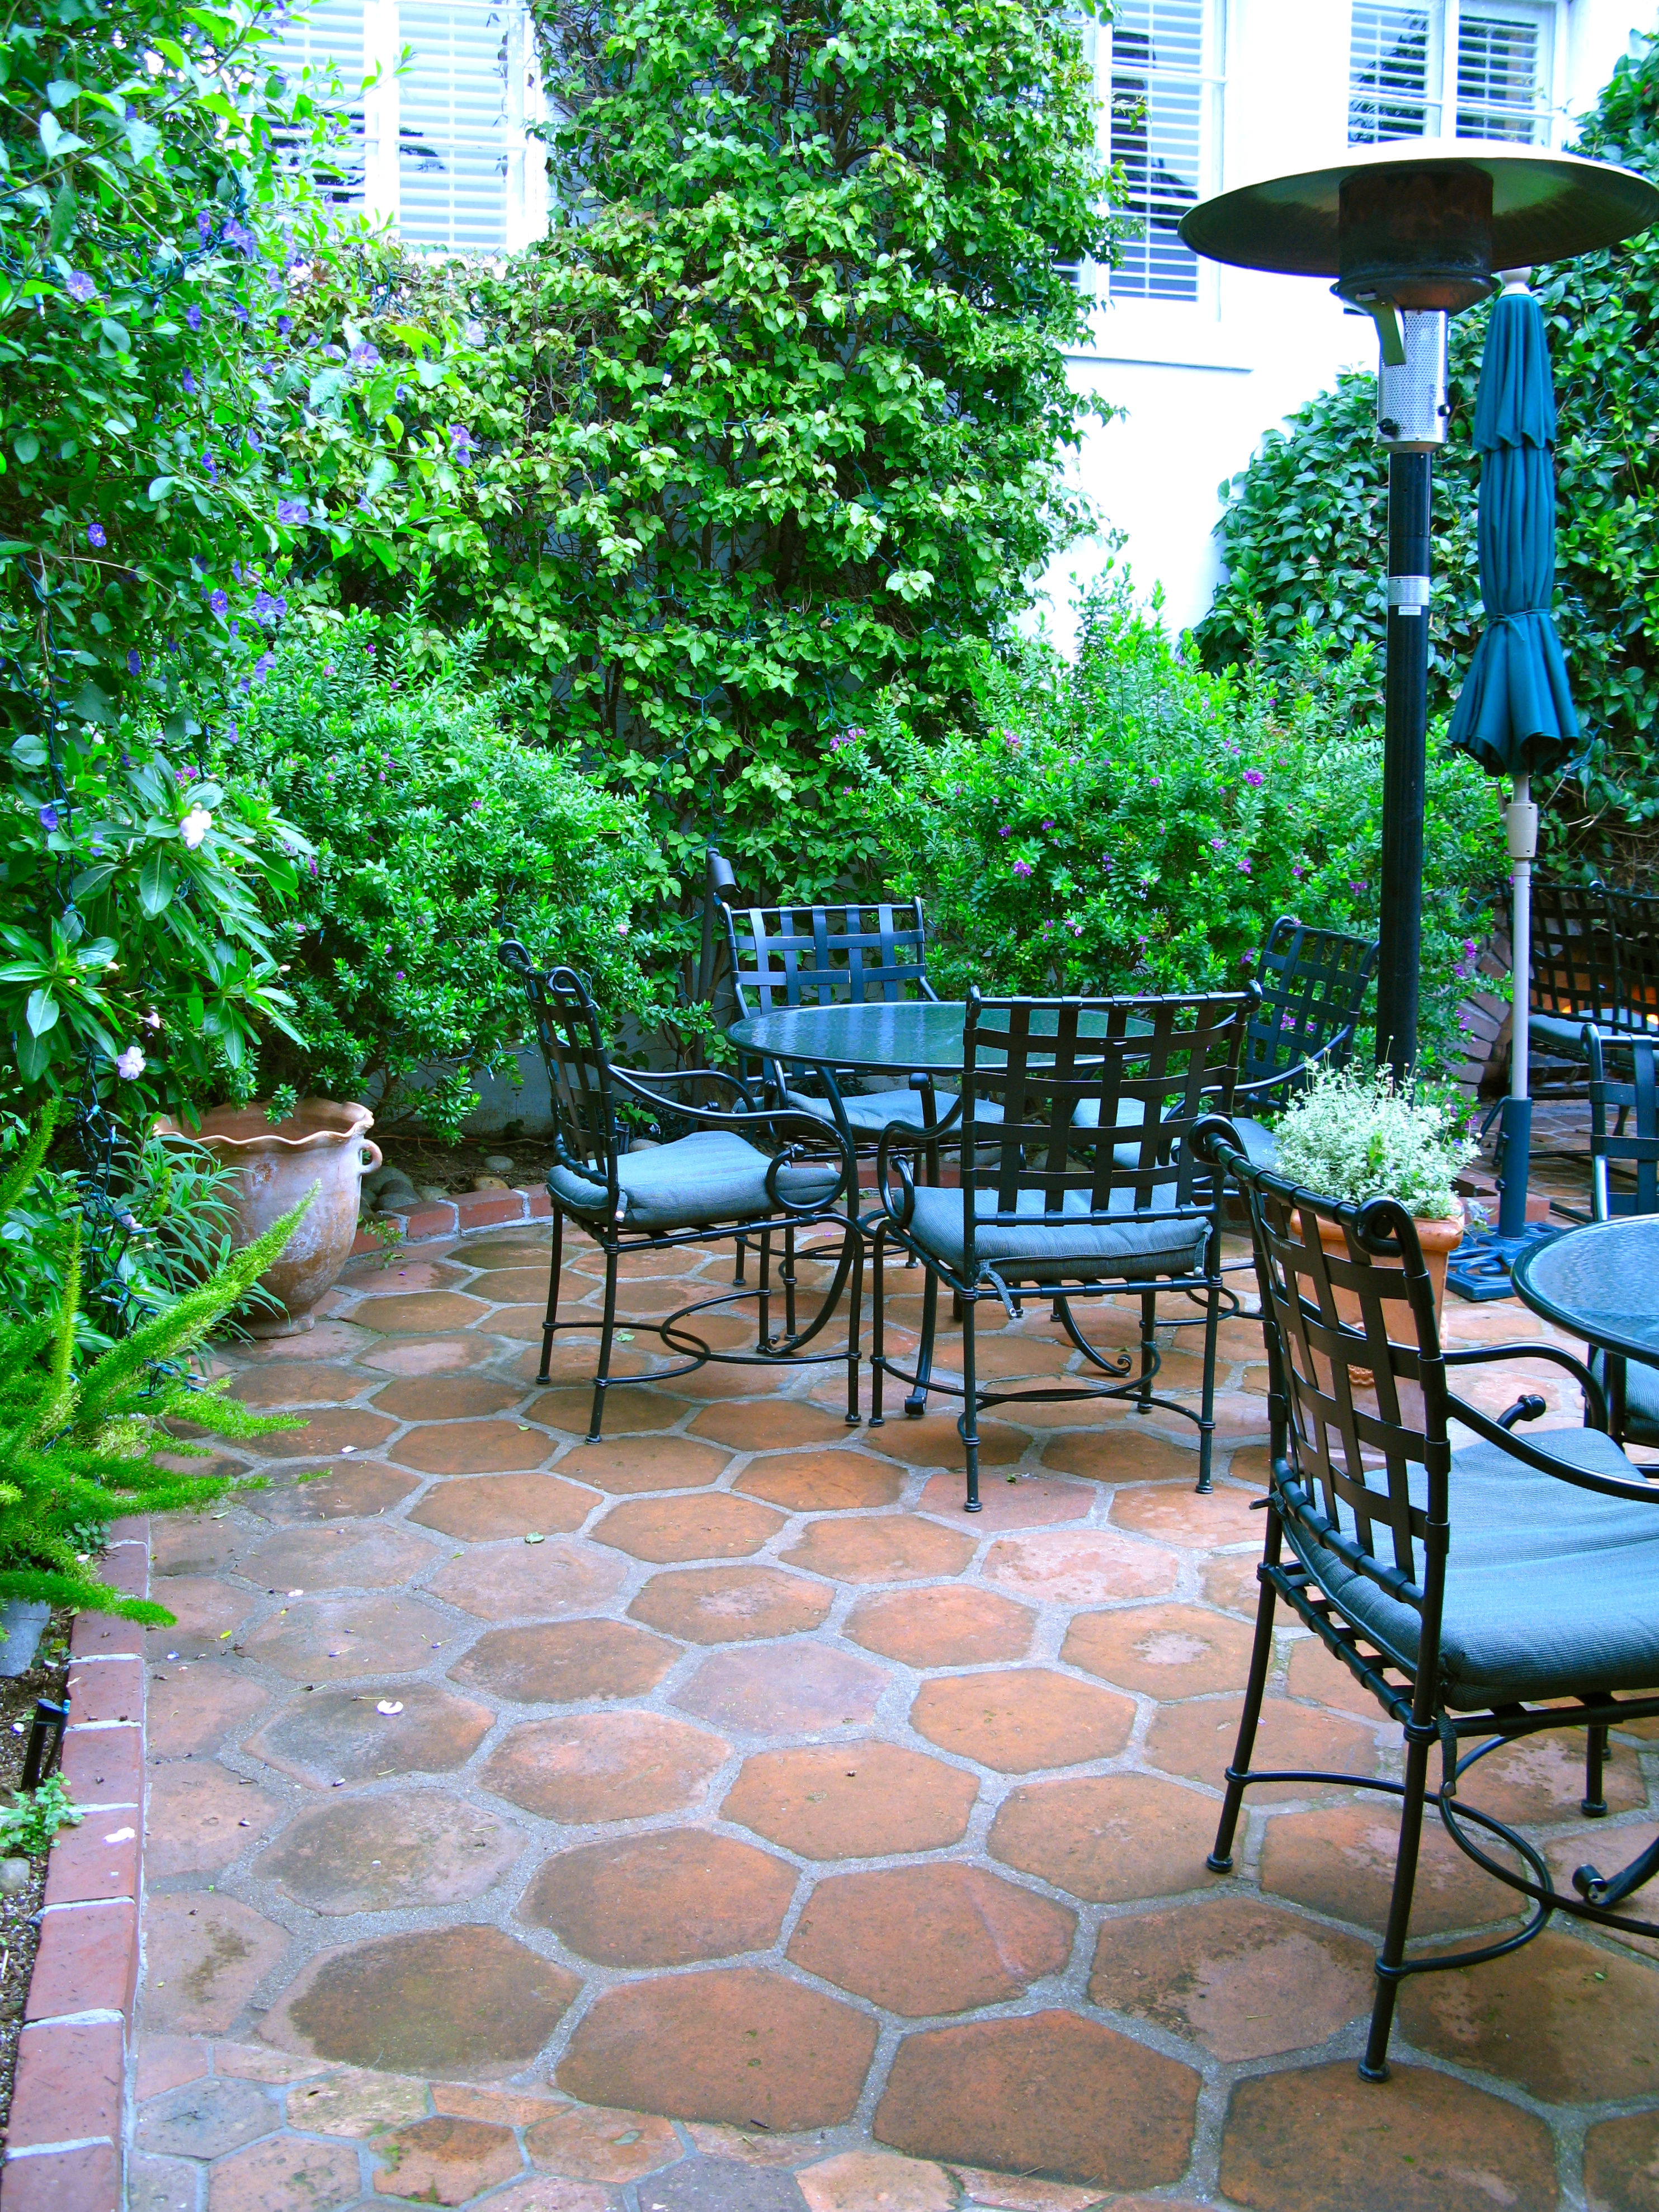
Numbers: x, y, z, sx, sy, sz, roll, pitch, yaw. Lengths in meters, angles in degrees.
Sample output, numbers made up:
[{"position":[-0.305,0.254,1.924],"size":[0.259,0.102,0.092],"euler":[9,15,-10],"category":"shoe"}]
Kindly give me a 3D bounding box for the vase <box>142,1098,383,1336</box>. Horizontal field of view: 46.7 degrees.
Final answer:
[{"position":[-1.555,0.331,4.977],"size":[0.688,0.573,0.647],"euler":[-2,5,-11],"category":"vase"}]

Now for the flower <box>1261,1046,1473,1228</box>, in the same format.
[{"position":[1.153,0.084,4.236],"size":[0.568,0.353,0.527],"euler":[1,4,-7],"category":"flower"}]
